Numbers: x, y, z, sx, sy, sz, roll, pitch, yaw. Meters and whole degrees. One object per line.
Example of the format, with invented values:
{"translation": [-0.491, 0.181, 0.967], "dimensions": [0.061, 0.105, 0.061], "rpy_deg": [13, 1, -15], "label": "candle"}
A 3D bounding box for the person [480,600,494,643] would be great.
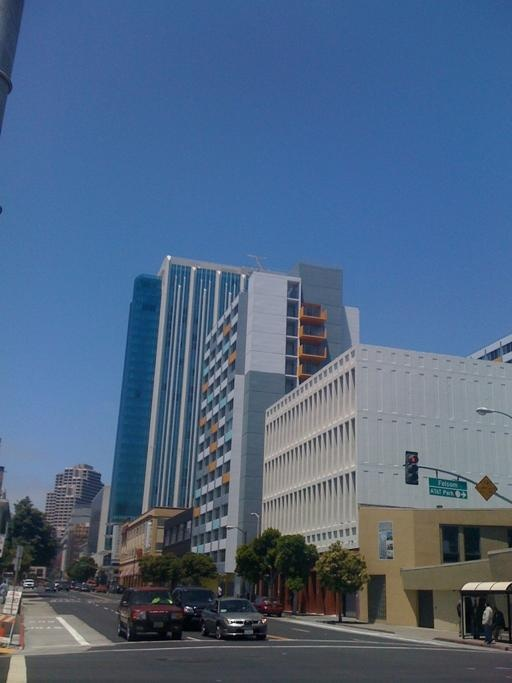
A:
{"translation": [8.482, 10.150, 23.010], "dimensions": [0.418, 1.307, 2.522], "rpy_deg": [-5, -23, 18], "label": "person"}
